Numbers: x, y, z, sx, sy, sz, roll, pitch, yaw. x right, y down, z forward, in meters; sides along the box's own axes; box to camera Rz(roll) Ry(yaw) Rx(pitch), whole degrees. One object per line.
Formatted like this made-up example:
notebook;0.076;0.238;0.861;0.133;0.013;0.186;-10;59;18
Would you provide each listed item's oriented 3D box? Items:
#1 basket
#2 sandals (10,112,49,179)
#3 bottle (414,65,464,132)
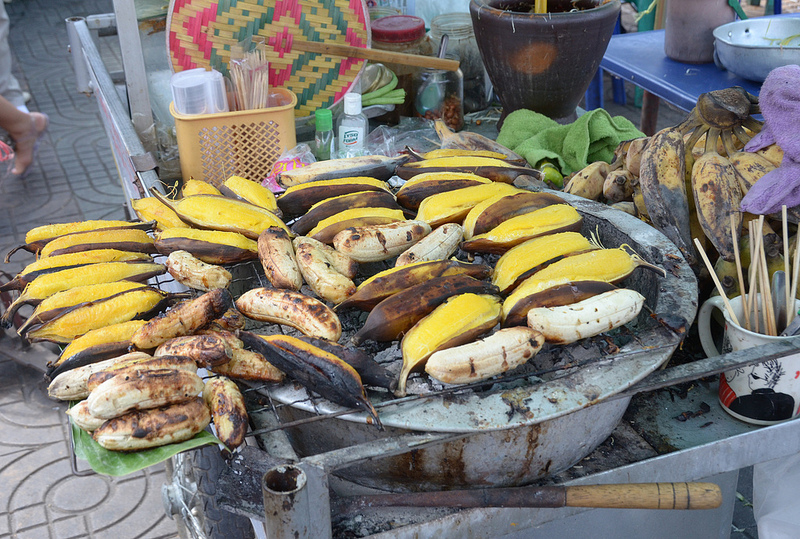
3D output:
basket;-0.654;-0.520;2.502;0.491;0.314;0.383;-12;31;-18
sandals;-2.808;-0.926;4.858;0.252;0.489;0.204;-23;45;-32
bottle;0.195;-0.770;2.927;0.226;0.302;0.219;-1;31;1
